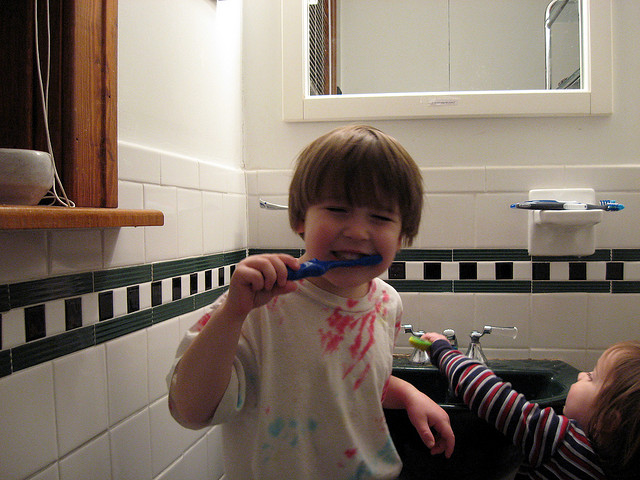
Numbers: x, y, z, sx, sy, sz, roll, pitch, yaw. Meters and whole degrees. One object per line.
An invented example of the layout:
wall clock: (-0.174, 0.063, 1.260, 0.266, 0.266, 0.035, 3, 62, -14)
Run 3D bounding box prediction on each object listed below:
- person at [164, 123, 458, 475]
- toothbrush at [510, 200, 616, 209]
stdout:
person: (0.026, 0.160, 1.261, 0.696, 0.731, 0.212, 4, 1, -35)
toothbrush: (0.786, -0.113, 1.774, 0.330, 0.038, 0.035, 0, 2, 1)
